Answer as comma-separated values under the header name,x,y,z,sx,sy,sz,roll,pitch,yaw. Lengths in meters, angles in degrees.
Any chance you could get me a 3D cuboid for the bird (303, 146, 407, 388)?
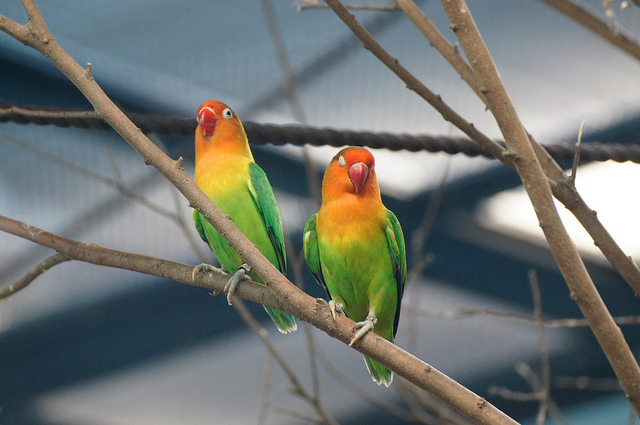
name,x,y,z,sx,sy,sz,roll,pitch,yaw
bird,0.201,0.148,4.237,0.506,0.705,0.640,7,-42,-18
